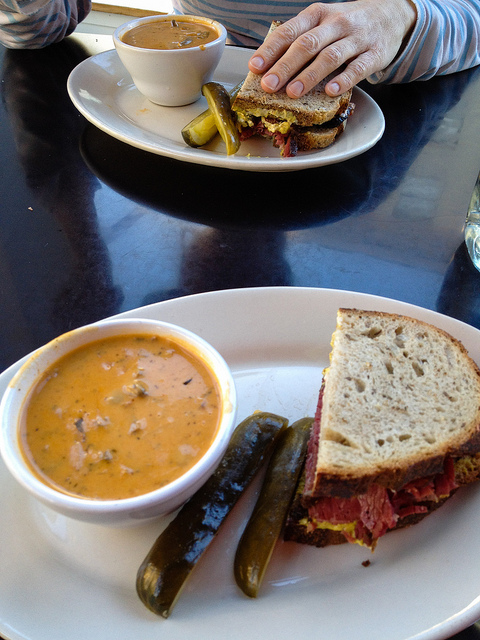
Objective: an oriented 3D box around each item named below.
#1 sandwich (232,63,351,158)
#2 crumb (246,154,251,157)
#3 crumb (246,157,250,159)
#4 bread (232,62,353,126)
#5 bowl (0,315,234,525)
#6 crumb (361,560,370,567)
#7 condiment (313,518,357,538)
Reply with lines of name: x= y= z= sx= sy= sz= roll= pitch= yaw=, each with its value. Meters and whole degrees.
sandwich: x=0.196 y=-0.815 z=2.270 sx=0.432 sy=0.115 sz=0.421 roll=1 pitch=56 yaw=1
crumb: x=0.038 y=-0.643 z=2.226 sx=0.017 sy=0.004 sz=0.016 roll=-3 pitch=36 yaw=-9
crumb: x=0.034 y=-0.611 z=2.145 sx=0.011 sy=0.003 sz=0.010 roll=12 pitch=32 yaw=3
bread: x=0.200 y=-0.950 z=2.395 sx=0.544 sy=0.118 sz=0.552 roll=-26 pitch=47 yaw=-29
bowl: x=-0.245 y=0.238 z=1.247 sx=0.469 sy=0.229 sz=0.492 roll=0 pitch=42 yaw=0
crumb: x=0.257 y=0.497 z=1.162 sx=0.011 sy=0.003 sz=0.008 roll=-4 pitch=37 yaw=-9
condiment: x=0.201 y=0.429 z=1.200 sx=0.092 sy=0.021 sz=0.043 roll=9 pitch=43 yaw=10
